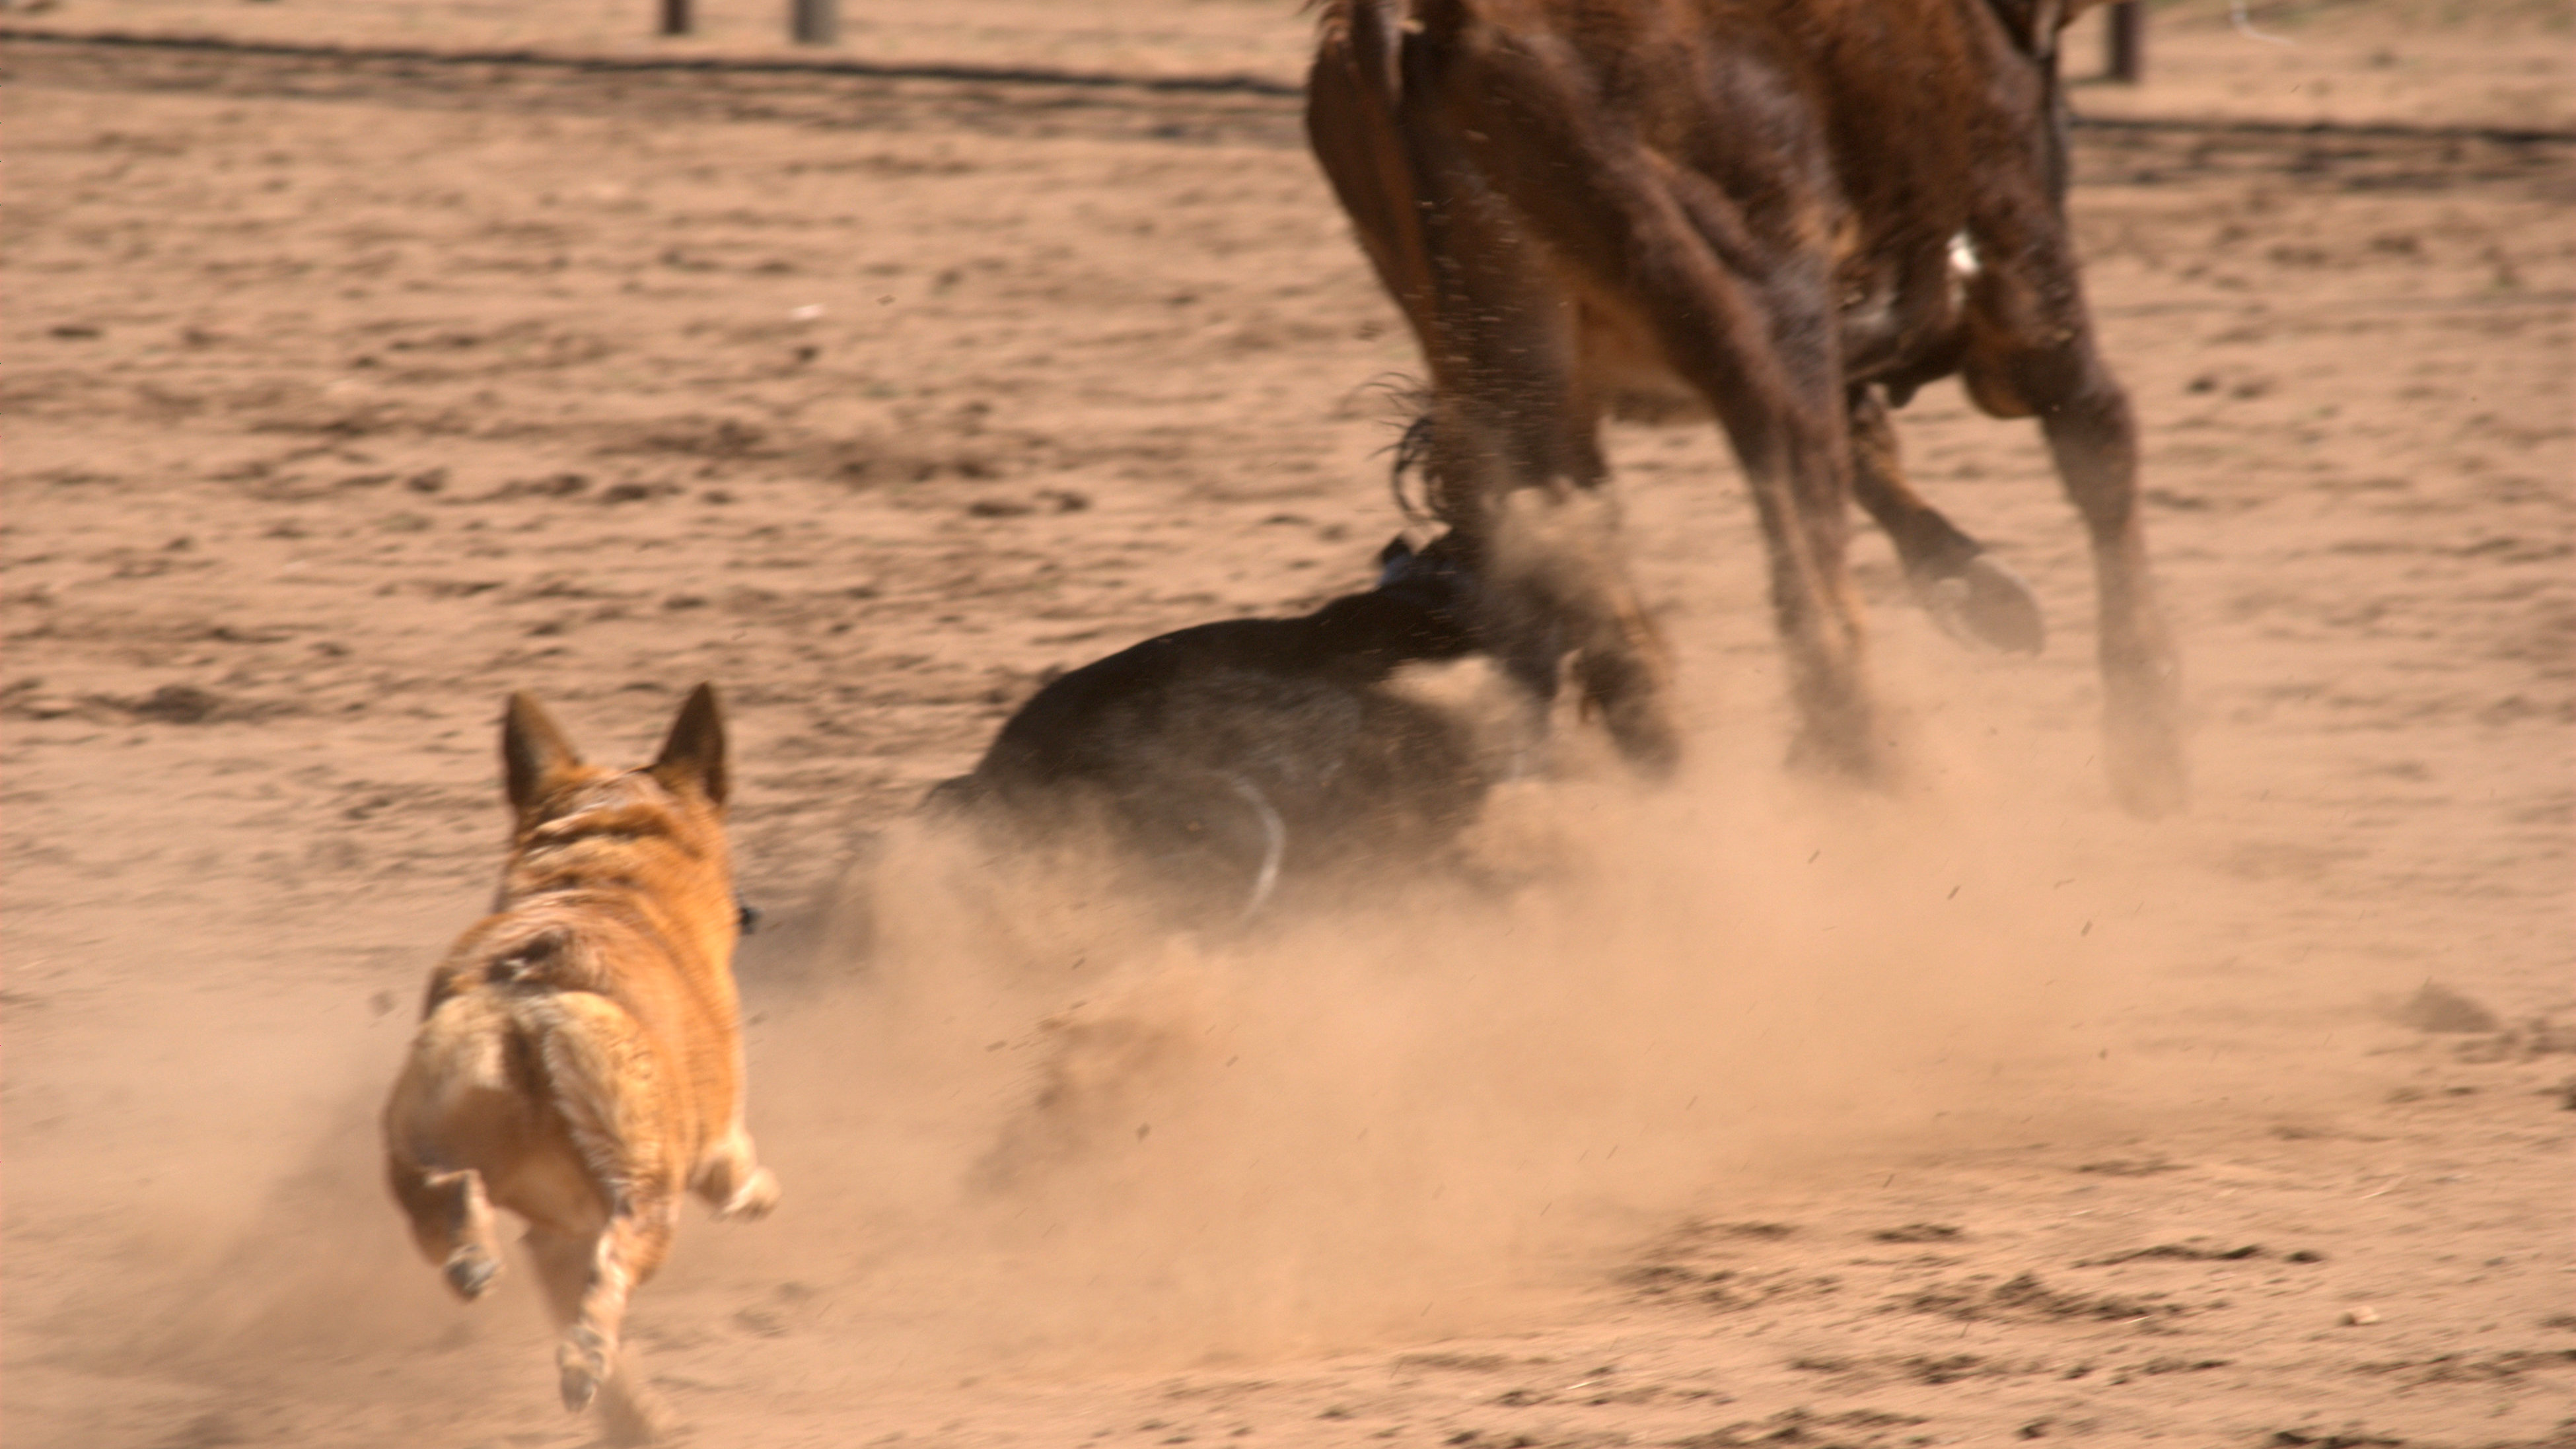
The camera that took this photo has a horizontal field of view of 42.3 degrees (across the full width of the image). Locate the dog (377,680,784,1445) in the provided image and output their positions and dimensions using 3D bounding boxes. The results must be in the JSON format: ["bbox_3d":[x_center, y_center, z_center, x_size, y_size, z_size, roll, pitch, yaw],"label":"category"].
[{"bbox_3d":[-1.854,0.812,8.758,0.970,1.613,1.431,0,16,-8],"label":"dog"}]
